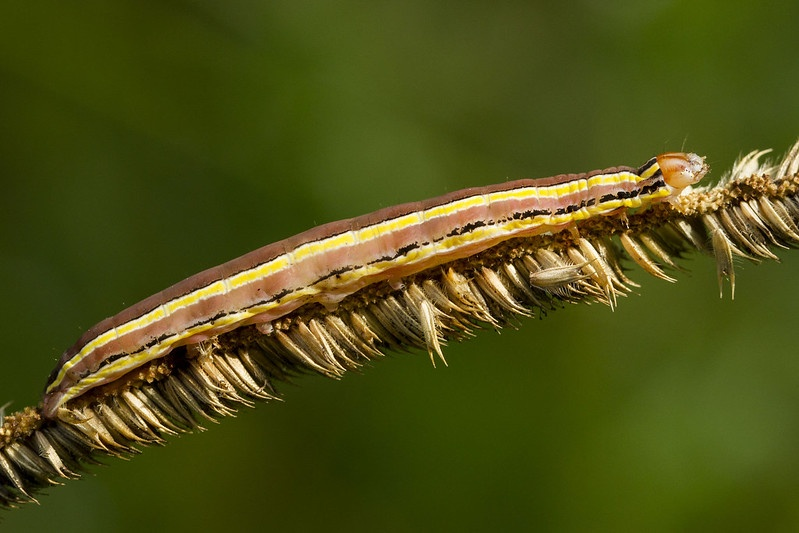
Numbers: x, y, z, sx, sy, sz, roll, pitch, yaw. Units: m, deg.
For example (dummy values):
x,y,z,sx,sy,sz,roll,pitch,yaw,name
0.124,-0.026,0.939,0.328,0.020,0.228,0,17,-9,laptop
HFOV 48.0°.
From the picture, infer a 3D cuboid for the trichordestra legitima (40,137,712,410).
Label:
x,y,z,sx,sy,sz,roll,pitch,yaw,name
-0.002,-0.059,4.309,3.411,0.487,0.430,-18,3,-15,trichordestra legitima
